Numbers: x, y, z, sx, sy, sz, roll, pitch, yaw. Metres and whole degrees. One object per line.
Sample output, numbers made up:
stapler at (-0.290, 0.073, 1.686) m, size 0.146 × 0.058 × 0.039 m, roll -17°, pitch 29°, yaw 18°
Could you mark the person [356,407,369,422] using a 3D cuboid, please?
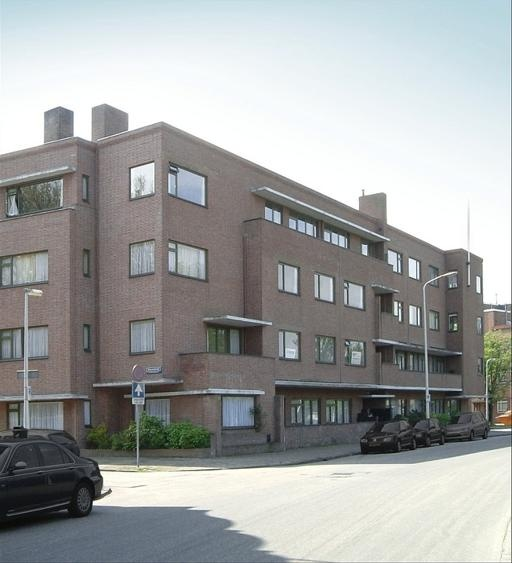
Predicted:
person at (5.930, 7.378, 46.660) m, size 0.450 × 0.911 × 0.912 m, roll -3°, pitch -6°, yaw 23°
